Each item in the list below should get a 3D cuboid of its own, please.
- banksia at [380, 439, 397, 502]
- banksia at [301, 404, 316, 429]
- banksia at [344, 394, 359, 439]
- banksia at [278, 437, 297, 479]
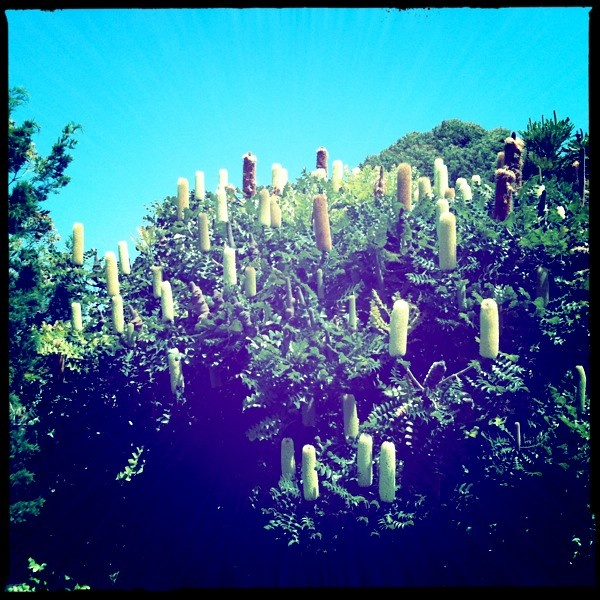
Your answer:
[{"bbox_3d":[0.824,1.654,5.553,0.150,0.615,0.364,-3,-6,6],"label":"banksia"},{"bbox_3d":[0.086,1.215,6.055,0.156,0.268,0.315,-2,-6,0],"label":"banksia"},{"bbox_3d":[0.507,1.179,5.864,0.150,0.461,0.302,-3,-6,3],"label":"banksia"},{"bbox_3d":[-0.122,1.677,6.120,0.152,0.460,0.240,-2,-5,-2],"label":"banksia"}]
